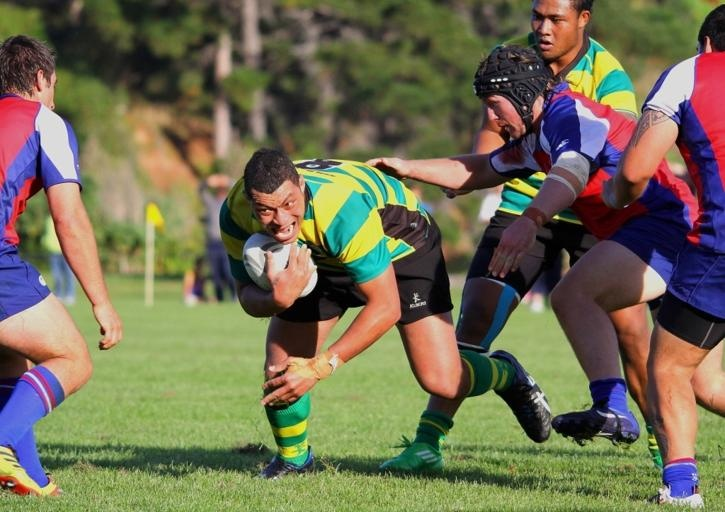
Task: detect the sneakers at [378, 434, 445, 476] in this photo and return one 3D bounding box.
[{"bbox_3d":[0.279,1.326,7.110,0.509,0.259,0.180,5,-8,-32],"label":"sneakers"}]

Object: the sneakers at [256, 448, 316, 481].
[{"bbox_3d":[-0.508,1.351,6.984,0.382,0.165,0.144,-3,0,-19],"label":"sneakers"}]

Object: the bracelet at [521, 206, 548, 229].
[{"bbox_3d":[1.038,-0.232,6.440,0.098,0.070,0.134,38,1,17],"label":"bracelet"}]

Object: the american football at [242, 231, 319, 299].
[{"bbox_3d":[-0.505,0.080,6.375,0.438,0.320,0.231,50,-9,-11],"label":"american football"}]

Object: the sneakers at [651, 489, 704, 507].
[{"bbox_3d":[1.807,1.360,6.139,0.276,0.131,0.108,4,-1,18],"label":"sneakers"}]

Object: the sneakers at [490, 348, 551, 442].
[{"bbox_3d":[1.171,1.071,8.020,0.637,0.218,0.266,55,29,2],"label":"sneakers"}]
